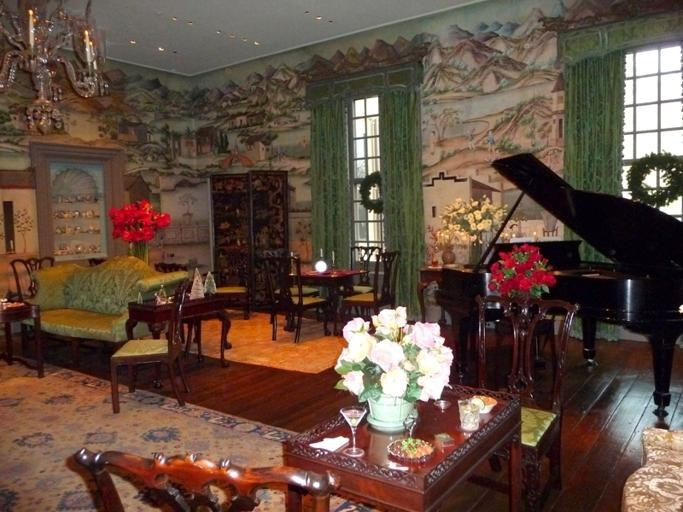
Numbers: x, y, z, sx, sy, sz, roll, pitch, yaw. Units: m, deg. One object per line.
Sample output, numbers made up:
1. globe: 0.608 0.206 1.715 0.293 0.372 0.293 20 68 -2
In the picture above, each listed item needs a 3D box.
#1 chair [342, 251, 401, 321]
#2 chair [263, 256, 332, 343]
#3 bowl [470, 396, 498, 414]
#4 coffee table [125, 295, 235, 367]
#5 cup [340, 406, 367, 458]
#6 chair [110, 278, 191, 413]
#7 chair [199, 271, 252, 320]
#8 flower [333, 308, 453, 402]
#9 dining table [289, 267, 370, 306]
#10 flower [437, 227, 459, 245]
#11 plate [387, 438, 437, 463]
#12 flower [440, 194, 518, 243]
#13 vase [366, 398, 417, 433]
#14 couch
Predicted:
1. chair: 0.440 0.580 8.325 1.021 1.226 0.987 -5 6 -26
2. chair: -0.703 0.641 8.159 0.852 1.256 0.780 0 3 30
3. bowl: 0.852 0.887 3.099 0.142 0.060 0.141 -2 2 0
4. coffee table: -2.005 0.716 6.323 0.922 0.911 1.365 0 1 27
5. cup: 0.064 0.950 2.834 0.208 0.238 0.208 0 -3 0
6. chair: -2.080 0.965 5.644 0.934 1.151 0.893 -2 2 13
7. chair: -2.040 0.561 9.522 0.717 0.870 0.695 -1 9 -19
8. flower: 0.318 0.454 2.934 0.428 0.314 0.429 13 -11 -41
9. dining table: -0.226 0.546 8.390 0.761 0.574 1.247 4 3 21
10. flower: 1.719 -0.331 8.515 0.349 0.325 0.338 2 11 23
11. plate: 0.359 1.012 2.690 0.234 0.085 0.117 0 8 8
12. flower: 1.960 -0.582 7.885 0.978 0.630 0.881 -10 19 -9
13. vase: 0.315 0.881 2.969 0.189 0.126 0.177 -6 -6 37
14. couch: -3.327 0.674 7.074 2.441 1.185 1.112 3 11 30
